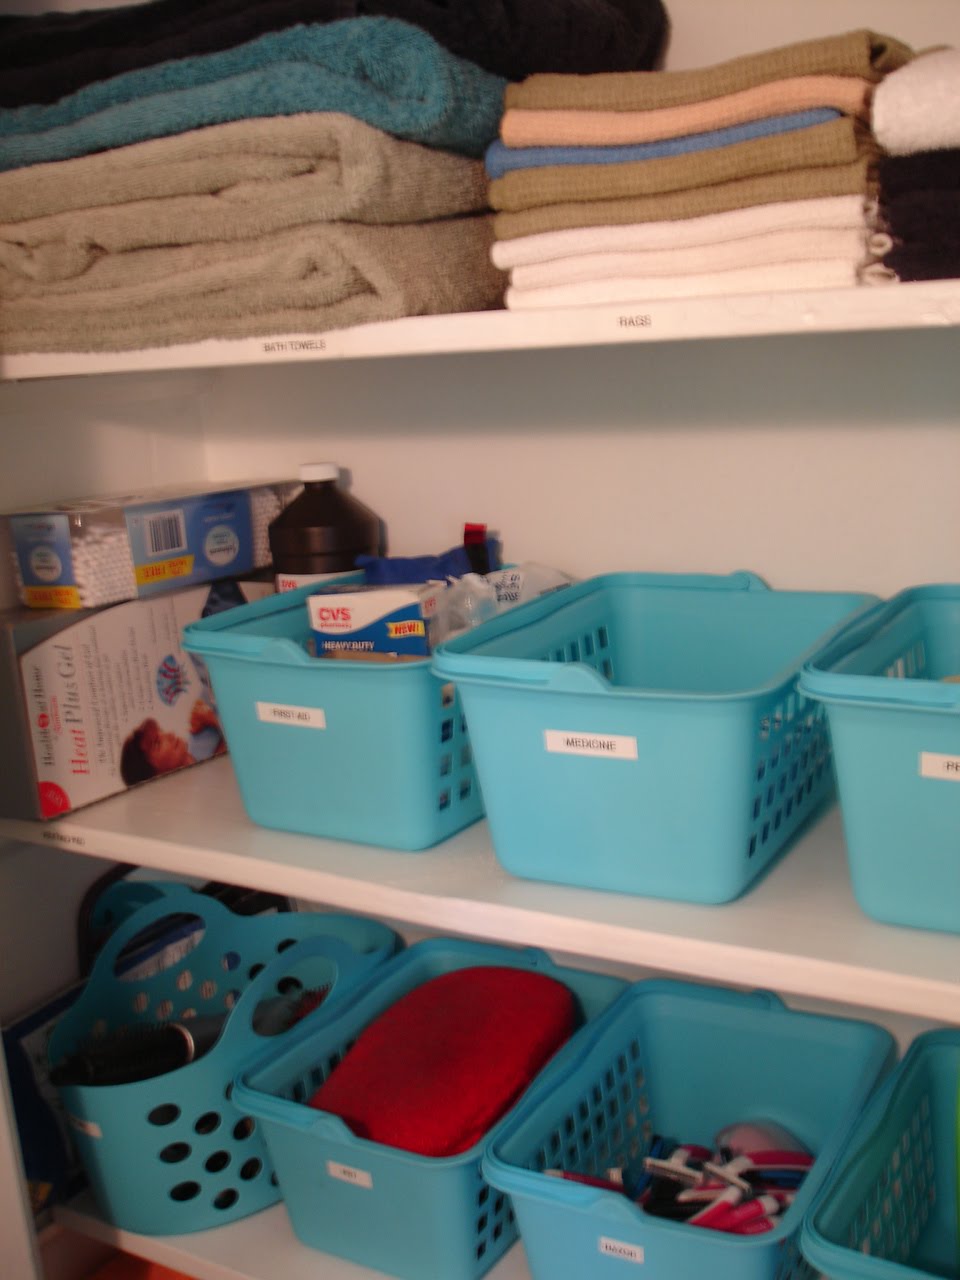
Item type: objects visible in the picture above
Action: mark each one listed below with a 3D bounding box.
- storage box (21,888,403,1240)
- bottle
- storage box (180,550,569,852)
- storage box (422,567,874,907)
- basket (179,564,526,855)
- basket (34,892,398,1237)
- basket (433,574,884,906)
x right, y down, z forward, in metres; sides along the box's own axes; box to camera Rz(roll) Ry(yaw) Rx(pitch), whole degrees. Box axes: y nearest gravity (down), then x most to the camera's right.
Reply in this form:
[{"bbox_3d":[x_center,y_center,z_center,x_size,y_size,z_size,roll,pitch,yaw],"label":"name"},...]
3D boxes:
[{"bbox_3d":[-0.341,0.546,1.487,0.312,0.318,0.492,5,10,32],"label":"storage box"},{"bbox_3d":[-0.222,-0.157,1.449,0.173,0.184,0.171,1,9,19],"label":"bottle"},{"bbox_3d":[-0.116,0.057,1.149,0.230,0.170,0.314,3,14,29],"label":"storage box"},{"bbox_3d":[0.198,0.069,1.053,0.340,0.201,0.454,5,17,33],"label":"storage box"},{"bbox_3d":[-0.137,0.112,1.244,0.307,0.233,0.389,-2,0,12],"label":"basket"},{"bbox_3d":[-0.347,0.547,1.487,0.312,0.316,0.488,5,10,31],"label":"basket"},{"bbox_3d":[0.203,0.074,1.051,0.349,0.199,0.444,3,14,27],"label":"basket"}]
